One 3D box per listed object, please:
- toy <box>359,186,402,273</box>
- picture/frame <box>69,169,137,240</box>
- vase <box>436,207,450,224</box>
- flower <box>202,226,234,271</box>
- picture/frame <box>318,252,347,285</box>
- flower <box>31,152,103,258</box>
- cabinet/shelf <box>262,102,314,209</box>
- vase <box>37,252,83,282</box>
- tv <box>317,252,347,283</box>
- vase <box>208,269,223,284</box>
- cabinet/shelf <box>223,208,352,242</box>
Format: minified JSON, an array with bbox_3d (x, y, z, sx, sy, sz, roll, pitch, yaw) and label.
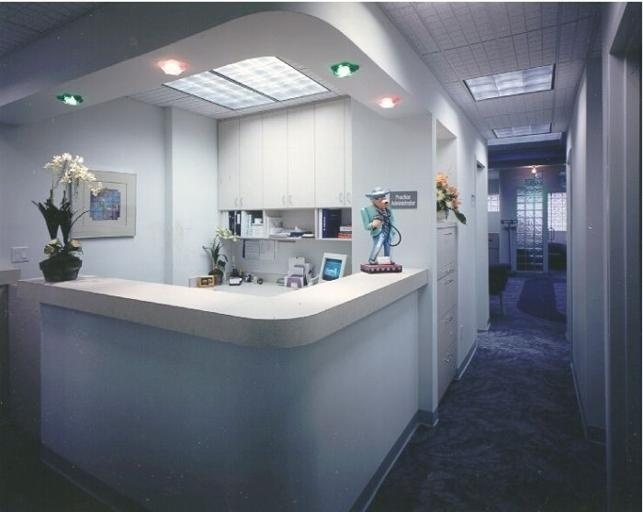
[{"bbox_3d":[0.419,-0.193,3.107,0.276,0.545,0.396,2,8,11],"label":"toy"},{"bbox_3d":[-1.766,-0.415,3.586,0.021,0.634,0.604,3,4,28],"label":"picture/frame"},{"bbox_3d":[0.969,-0.316,3.577,0.106,0.071,0.191,2,-3,7],"label":"vase"},{"bbox_3d":[-1.036,-0.062,4.606,0.383,0.442,0.233,-4,9,-29],"label":"flower"},{"bbox_3d":[0.099,0.100,3.694,0.251,0.380,0.040,-5,-31,33],"label":"picture/frame"},{"bbox_3d":[-1.512,-0.312,2.654,0.248,0.604,0.377,0,2,30],"label":"flower"},{"bbox_3d":[-0.292,-0.902,4.358,0.588,0.971,0.324,-1,-2,11],"label":"cabinet/shelf"},{"bbox_3d":[-1.538,0.060,2.641,0.182,0.150,0.161,-2,1,15],"label":"vase"},{"bbox_3d":[0.097,0.096,3.768,0.253,0.382,0.041,-5,-32,30],"label":"tv"},{"bbox_3d":[-1.032,0.202,4.352,0.106,0.215,0.106,-7,12,-42],"label":"vase"},{"bbox_3d":[-0.334,-0.342,4.560,1.403,0.312,0.265,-3,11,-29],"label":"cabinet/shelf"}]
